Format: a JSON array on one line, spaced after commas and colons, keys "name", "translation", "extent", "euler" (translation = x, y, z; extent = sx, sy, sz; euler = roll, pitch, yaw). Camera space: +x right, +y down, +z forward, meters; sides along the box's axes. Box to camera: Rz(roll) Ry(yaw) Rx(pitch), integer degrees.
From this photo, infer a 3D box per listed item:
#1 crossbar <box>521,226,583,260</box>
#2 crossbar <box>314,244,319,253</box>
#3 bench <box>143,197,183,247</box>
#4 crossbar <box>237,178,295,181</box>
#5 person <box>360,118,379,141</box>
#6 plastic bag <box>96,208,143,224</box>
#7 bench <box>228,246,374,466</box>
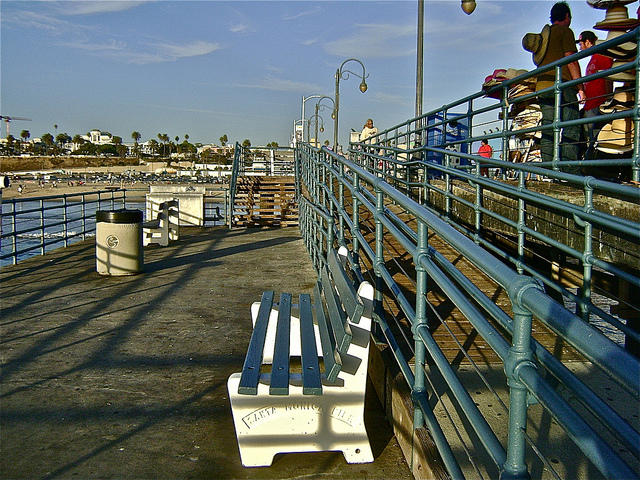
[{"name": "crossbar", "translation": [2.182, 0.024, 4.696], "extent": [0.088, 0.093, 0.686], "euler": [-19, 35, -28]}, {"name": "crossbar", "translation": [-0.039, 0.143, 8.307], "extent": [0.057, 0.075, 0.247], "euler": [19, -18, 12]}, {"name": "bench", "translation": [-4.250, -0.464, 13.640], "extent": [0.715, 0.954, 1.547], "euler": [2, 5, -2]}, {"name": "crossbar", "translation": [-2.248, -2.555, 21.449], "extent": [2.356, 0.163, 0.853], "euler": [-2, 9, -8]}, {"name": "person", "translation": [2.070, -4.540, 20.868], "extent": [0.526, 0.833, 1.318], "euler": [0, 9, 5]}, {"name": "plastic bag", "translation": [-3.575, -0.392, 8.945], "extent": [0.775, 0.232, 0.447], "euler": [-3, 9, -11]}, {"name": "bench", "translation": [-0.095, 0.859, 3.909], "extent": [0.993, 1.274, 1.215], "euler": [-1, 9, 2]}]
